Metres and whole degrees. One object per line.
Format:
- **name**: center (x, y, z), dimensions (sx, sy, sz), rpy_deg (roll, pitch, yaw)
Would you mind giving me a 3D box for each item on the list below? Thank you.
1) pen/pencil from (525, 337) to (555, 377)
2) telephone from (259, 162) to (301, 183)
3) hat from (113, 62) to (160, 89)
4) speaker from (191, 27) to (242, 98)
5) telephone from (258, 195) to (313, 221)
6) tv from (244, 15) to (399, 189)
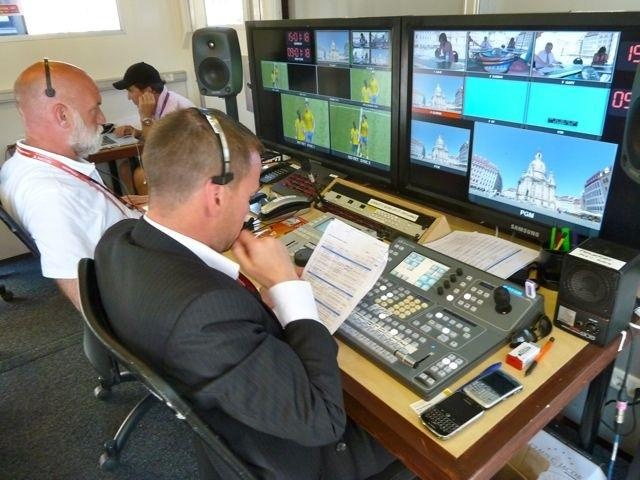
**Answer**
- **pen/pencil**: center (0.607, 0.328, 1.264), dimensions (0.017, 0.017, 0.163), rpy_deg (25, 44, 37)
- **telephone**: center (-0.217, -0.346, 2.377), dimensions (0.163, 0.049, 0.122), rpy_deg (-32, 36, -23)
- **hat**: center (-1.411, -1.269, 3.533), dimensions (0.306, 0.173, 0.198), rpy_deg (1, 33, -12)
- **speaker**: center (-0.550, -0.940, 2.449), dimensions (0.254, 0.345, 0.165), rpy_deg (-5, 31, -6)
- **telephone**: center (-0.156, -0.138, 1.971), dimensions (0.191, 0.057, 0.101), rpy_deg (-21, 33, -28)
- **tv**: center (0.023, -0.603, 2.013), dimensions (1.002, 0.680, 0.044), rpy_deg (19, 40, 35)
